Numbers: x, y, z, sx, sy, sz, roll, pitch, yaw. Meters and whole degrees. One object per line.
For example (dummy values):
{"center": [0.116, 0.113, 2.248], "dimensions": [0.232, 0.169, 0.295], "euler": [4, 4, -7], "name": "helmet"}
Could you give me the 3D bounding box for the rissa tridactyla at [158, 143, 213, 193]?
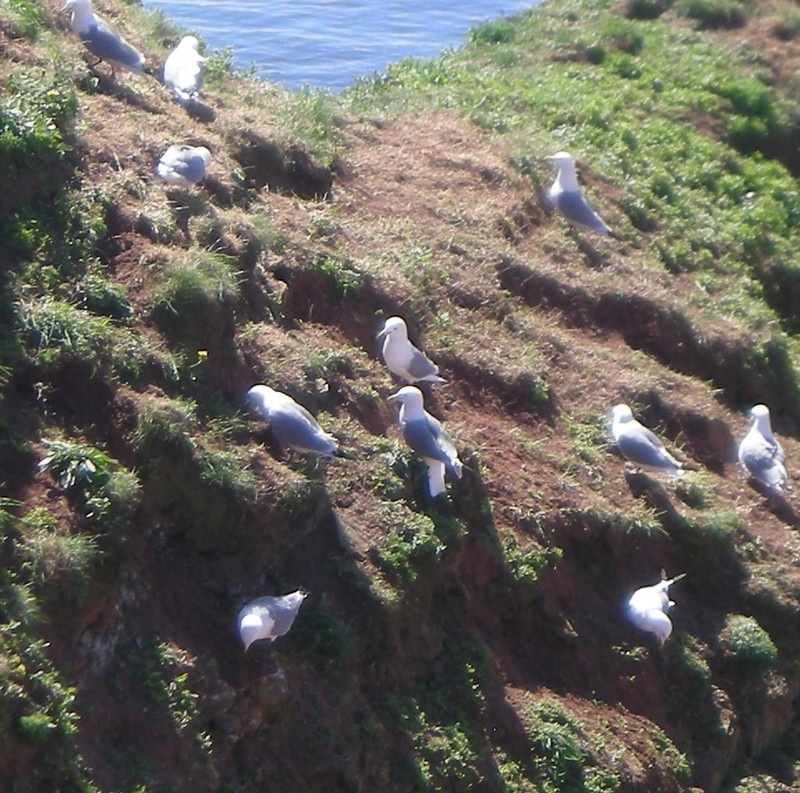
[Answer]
{"center": [-2.978, -3.078, 24.980], "dimensions": [0.627, 0.392, 0.559], "euler": [-28, 79, -15], "name": "rissa tridactyla"}
